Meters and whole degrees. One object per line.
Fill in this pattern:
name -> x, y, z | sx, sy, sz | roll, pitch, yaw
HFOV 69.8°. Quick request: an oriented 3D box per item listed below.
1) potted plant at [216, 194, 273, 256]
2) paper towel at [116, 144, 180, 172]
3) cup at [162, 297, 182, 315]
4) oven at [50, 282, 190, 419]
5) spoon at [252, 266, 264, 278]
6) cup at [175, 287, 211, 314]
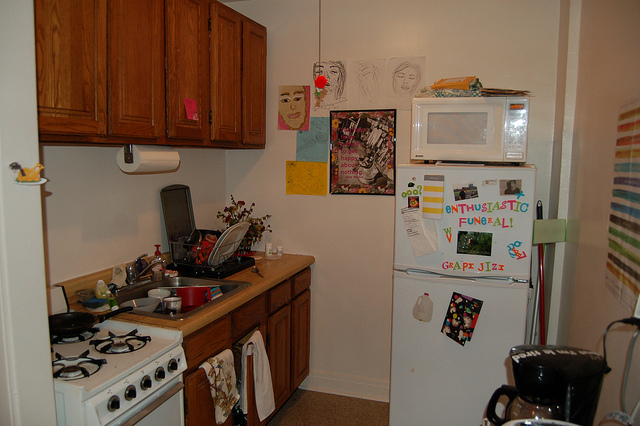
potted plant -> -0.549, 0.093, 3.786 | 0.474, 0.493, 0.441 | 1, -6, 12
paper towel -> -1.029, -0.341, 2.775 | 0.354, 0.160, 0.153 | -5, 9, -26
cup -> -0.892, 0.552, 2.763 | 0.106, 0.081, 0.102 | 2, 2, 0
oven -> -1.034, 0.698, 2.580 | 0.639, 0.958, 0.562 | 3, 4, 18
spoon -> -0.458, 0.424, 3.380 | 0.042, 0.027, 0.115 | -11, 24, -34
cup -> -0.814, 0.555, 2.965 | 0.189, 0.129, 0.145 | 2, -3, 3
